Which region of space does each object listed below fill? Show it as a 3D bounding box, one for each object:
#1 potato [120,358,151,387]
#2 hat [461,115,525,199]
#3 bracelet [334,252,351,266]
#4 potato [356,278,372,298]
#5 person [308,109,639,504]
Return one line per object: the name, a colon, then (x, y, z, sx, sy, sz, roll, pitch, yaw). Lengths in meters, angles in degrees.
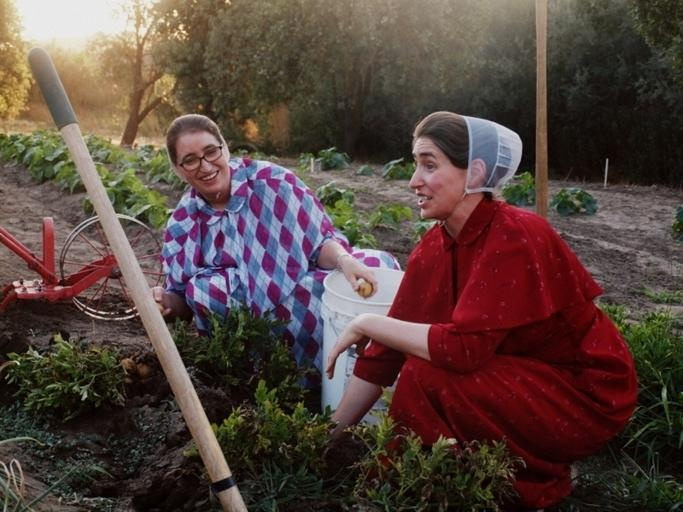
potato: (-1.129, 0.634, 3.338, 0.108, 0.075, 0.137, 7, 21, -43)
hat: (0.700, -0.520, 2.945, 0.332, 0.397, 0.286, -3, 28, -12)
bracelet: (0.010, 0.015, 3.766, 0.070, 0.086, 0.077, -4, 28, 2)
potato: (0.132, 0.180, 3.442, 0.064, 0.086, 0.097, -3, 15, 1)
person: (0.720, 0.285, 2.804, 1.196, 1.860, 0.677, 1, 14, 18)
